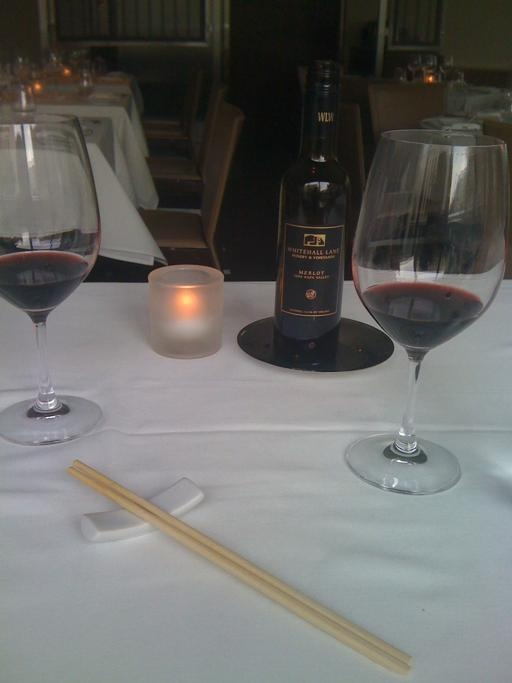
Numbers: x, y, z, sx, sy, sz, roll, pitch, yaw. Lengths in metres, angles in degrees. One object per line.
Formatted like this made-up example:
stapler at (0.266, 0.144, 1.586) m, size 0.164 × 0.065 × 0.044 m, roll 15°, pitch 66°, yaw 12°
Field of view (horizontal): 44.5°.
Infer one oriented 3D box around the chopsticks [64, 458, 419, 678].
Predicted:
chopsticks at (-0.028, 0.110, 0.333) m, size 0.237 × 0.014 × 0.017 m, roll 17°, pitch 25°, yaw 35°

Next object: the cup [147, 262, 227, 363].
cup at (-0.062, -0.024, 0.617) m, size 0.086 × 0.090 × 0.082 m, roll 2°, pitch 31°, yaw -1°
